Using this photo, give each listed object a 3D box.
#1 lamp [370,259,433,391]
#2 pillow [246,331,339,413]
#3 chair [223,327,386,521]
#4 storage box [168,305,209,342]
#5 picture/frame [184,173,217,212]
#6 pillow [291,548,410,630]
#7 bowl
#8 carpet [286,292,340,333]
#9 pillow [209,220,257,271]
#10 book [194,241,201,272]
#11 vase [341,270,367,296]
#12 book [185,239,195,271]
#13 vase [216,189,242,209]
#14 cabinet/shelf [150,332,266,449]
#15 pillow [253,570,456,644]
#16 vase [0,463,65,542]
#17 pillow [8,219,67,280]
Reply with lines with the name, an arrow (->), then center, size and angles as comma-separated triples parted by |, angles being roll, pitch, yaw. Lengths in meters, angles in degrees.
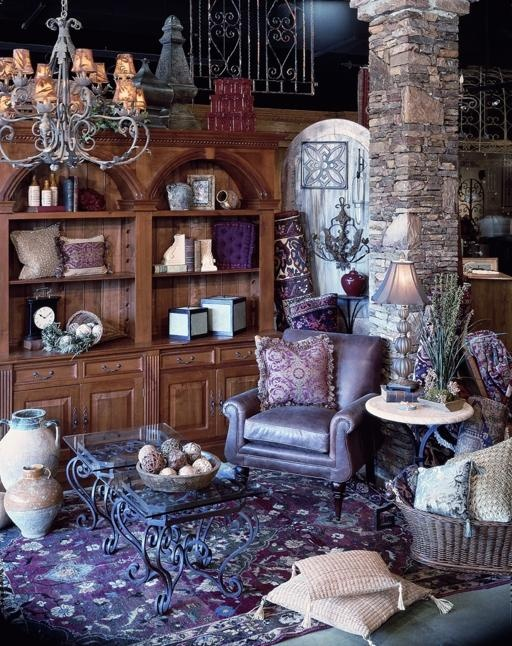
lamp -> 0.921, -0.004, 3.597 | 0.420, 0.748, 0.381 | 0, -2, 40
pillow -> 0.281, 0.344, 4.034 | 0.595, 0.501, 0.128 | -2, -7, 3
chair -> 0.372, 0.559, 3.945 | 0.968, 0.840, 0.889 | 3, 9, 38
storage box -> -0.545, -0.005, 4.768 | 0.302, 0.269, 0.294 | 1, 2, 44
picture/frame -> -0.460, -1.104, 4.902 | 0.235, 0.347, 0.195 | 0, 1, -7
pillow -> 0.362, 1.011, 2.304 | 0.296, 0.127, 0.290 | 0, -1, -33
bowl -> -0.335, 0.685, 2.698 | 0.378, 0.082, 0.378 | -1, 4, 0
carpet -> 0.481, -0.089, 5.050 | 0.432, 0.313, 0.229 | 0, 1, 6
pillow -> -0.199, -0.659, 5.025 | 0.450, 0.394, 0.156 | 2, 3, -13
book -> -0.494, -0.560, 4.869 | 0.105, 0.243, 0.274 | 0, 4, -6
vase -> 0.830, -0.339, 4.903 | 0.232, 0.242, 0.232 | -1, 5, -35
book -> -0.543, -0.558, 4.821 | 0.085, 0.272, 0.061 | 0, 1, -20
vase -> -0.218, -1.047, 5.030 | 0.185, 0.191, 0.209 | 11, 7, 32
cabinet/shelf -> -0.424, 0.599, 4.908 | 1.074, 0.891, 0.406 | -3, 6, -35
pillow -> 0.433, 1.087, 2.305 | 0.387, 0.088, 0.412 | -5, 4, -45
vase -> -1.195, 0.994, 3.415 | 0.427, 0.433, 0.394 | 0, 7, -11
pillow -> -1.588, -0.509, 4.274 | 0.213, 0.352, 0.412 | 35, 35, 25
